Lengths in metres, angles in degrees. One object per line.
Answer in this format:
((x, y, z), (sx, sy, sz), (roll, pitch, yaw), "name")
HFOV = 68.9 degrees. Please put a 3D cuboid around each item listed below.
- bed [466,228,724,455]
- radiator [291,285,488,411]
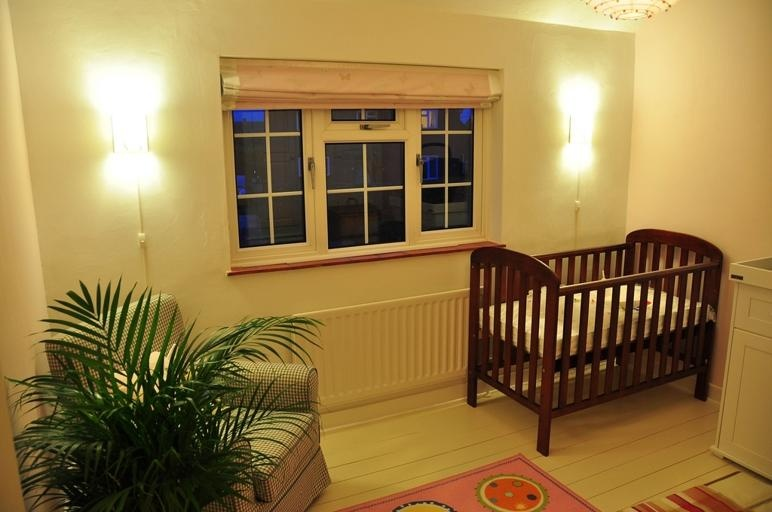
((1.527, 0.429, 4.497), (2.054, 1.518, 1.144), (-7, 15, -27), "bed")
((-0.022, 0.649, 3.975), (1.323, 0.724, 0.048), (-6, 20, -18), "radiator")
